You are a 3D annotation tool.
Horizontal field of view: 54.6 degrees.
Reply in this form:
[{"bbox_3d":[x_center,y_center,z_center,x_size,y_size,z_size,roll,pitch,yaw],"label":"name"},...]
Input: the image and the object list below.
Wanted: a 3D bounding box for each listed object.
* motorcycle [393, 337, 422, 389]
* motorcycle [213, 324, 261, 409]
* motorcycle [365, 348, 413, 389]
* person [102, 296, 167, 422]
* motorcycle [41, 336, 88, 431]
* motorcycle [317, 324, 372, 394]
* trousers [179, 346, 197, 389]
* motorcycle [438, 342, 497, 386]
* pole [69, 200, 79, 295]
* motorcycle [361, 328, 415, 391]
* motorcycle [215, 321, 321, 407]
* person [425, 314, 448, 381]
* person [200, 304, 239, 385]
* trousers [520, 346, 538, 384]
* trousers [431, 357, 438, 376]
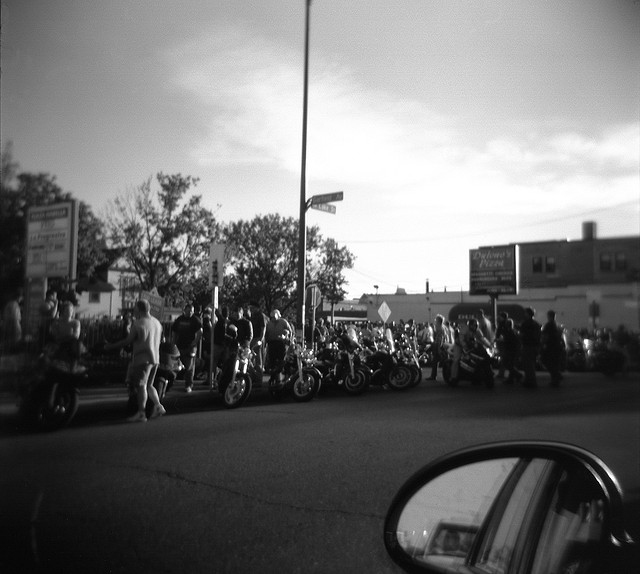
[{"bbox_3d":[2.195,1.819,15.145,0.942,0.857,0.623,-2,-3,12],"label":"motorcycle"},{"bbox_3d":[-1.641,1.514,11.427,0.630,1.316,1.685,23,-10,-28],"label":"motorcycle"},{"bbox_3d":[1.549,1.817,13.854,0.932,0.878,0.638,5,-1,6],"label":"motorcycle"},{"bbox_3d":[-2.758,1.129,9.410,0.714,1.698,0.986,-1,0,-16],"label":"person"},{"bbox_3d":[-3.455,1.335,8.530,0.367,1.131,0.728,5,-7,-7],"label":"motorcycle"},{"bbox_3d":[0.577,1.662,13.181,0.747,1.068,1.237,4,-14,-42],"label":"motorcycle"},{"bbox_3d":[-2.909,1.805,13.558,0.205,0.259,1.050,-6,47,-10],"label":"trousers"},{"bbox_3d":[1.778,0.906,7.521,0.329,0.667,0.973,14,-11,-25],"label":"motorcycle"},{"bbox_3d":[-3.741,-0.696,9.335,0.047,1.228,0.089,12,15,14],"label":"pole"},{"bbox_3d":[1.239,1.605,13.873,1.503,1.370,0.974,6,-19,-1],"label":"motorcycle"},{"bbox_3d":[-0.925,1.359,11.541,1.996,1.587,1.250,4,16,-25],"label":"motorcycle"},{"bbox_3d":[3.732,2.028,20.030,0.445,0.837,1.841,9,36,10],"label":"person"},{"bbox_3d":[-2.246,1.317,13.734,0.399,1.598,1.205,15,-23,-20],"label":"person"},{"bbox_3d":[1.110,0.409,3.293,0.089,0.195,0.385,-2,0,19],"label":"trousers"},{"bbox_3d":[3.048,2.188,16.591,0.158,0.483,0.948,-1,0,8],"label":"trousers"}]
